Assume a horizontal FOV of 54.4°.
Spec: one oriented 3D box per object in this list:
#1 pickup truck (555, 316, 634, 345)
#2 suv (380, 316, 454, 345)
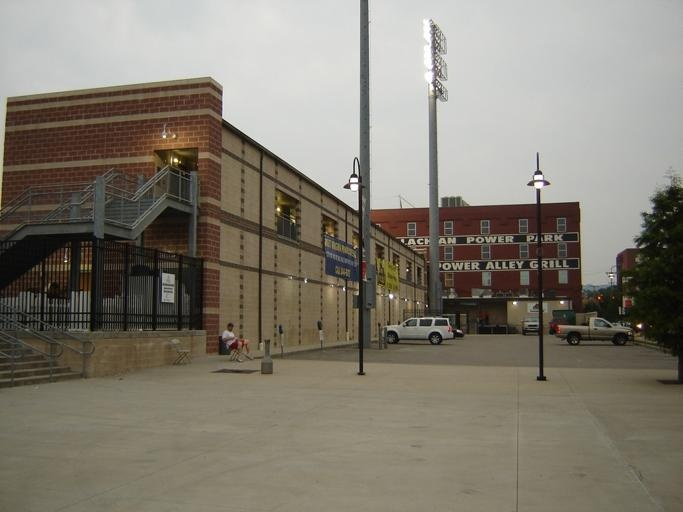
[{"bbox_3d":[16.282,4.836,42.707,4.381,1.733,1.004,-3,-8,10],"label":"pickup truck"},{"bbox_3d":[5.105,4.933,43.301,3.702,1.738,4.632,-1,-3,23],"label":"suv"}]
